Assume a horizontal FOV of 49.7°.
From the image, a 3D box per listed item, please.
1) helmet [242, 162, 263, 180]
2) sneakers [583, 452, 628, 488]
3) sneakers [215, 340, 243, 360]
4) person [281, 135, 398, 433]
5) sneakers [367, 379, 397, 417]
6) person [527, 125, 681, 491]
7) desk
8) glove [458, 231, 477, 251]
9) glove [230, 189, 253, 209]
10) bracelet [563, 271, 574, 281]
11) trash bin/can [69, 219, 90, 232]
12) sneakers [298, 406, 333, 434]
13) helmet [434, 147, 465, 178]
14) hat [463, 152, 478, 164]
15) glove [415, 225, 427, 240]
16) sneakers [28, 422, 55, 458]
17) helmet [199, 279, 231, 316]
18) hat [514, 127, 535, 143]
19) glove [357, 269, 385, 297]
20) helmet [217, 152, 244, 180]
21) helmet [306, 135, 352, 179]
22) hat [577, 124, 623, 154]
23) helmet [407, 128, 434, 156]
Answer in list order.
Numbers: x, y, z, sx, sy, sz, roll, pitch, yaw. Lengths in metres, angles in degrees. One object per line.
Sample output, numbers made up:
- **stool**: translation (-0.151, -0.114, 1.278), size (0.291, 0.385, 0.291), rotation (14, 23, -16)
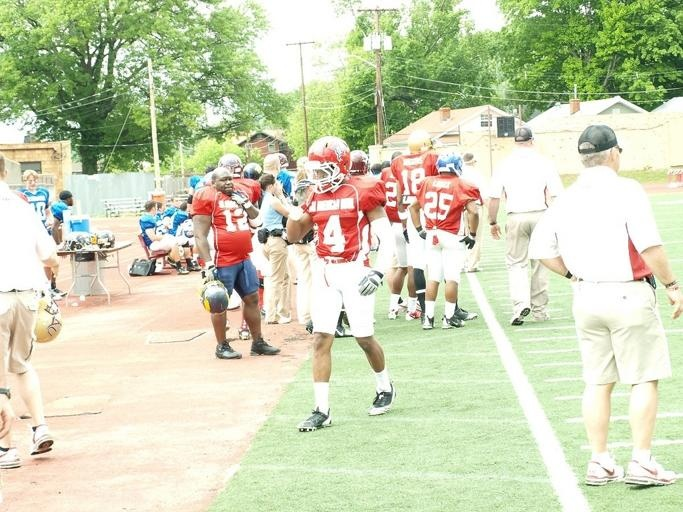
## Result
- **helmet**: translation (-1.337, -1.240, 10.639), size (0.256, 0.294, 0.315), rotation (12, 7, 11)
- **sneakers**: translation (1.782, 1.437, 5.012), size (0.138, 0.165, 0.371), rotation (0, 4, 43)
- **sneakers**: translation (-1.445, 1.178, 9.304), size (0.325, 0.223, 0.181), rotation (-1, 8, 27)
- **person**: translation (0.005, 0.190, 6.752), size (0.955, 2.589, 0.842), rotation (-5, 7, -2)
- **sneakers**: translation (0.375, 1.329, 6.902), size (0.141, 0.148, 0.389), rotation (-2, 31, 36)
- **person**: translation (1.825, 0.473, 5.026), size (0.879, 2.109, 0.598), rotation (0, 8, 33)
- **desk**: translation (-5.064, 0.299, 15.284), size (1.064, 0.881, 1.888), rotation (0, -2, -39)
- **glove**: translation (1.704, -0.217, 9.989), size (0.205, 0.213, 0.333), rotation (-4, 7, 7)
- **glove**: translation (-1.259, -0.716, 9.195), size (0.073, 0.243, 0.198), rotation (-47, -16, 23)
- **bracelet**: translation (1.695, 0.144, 5.510), size (0.038, 0.045, 0.112), rotation (-20, 3, 18)
- **trash bin/can**: translation (-5.742, -0.688, 16.192), size (0.402, 0.354, 0.319), rotation (-5, 17, -27)
- **sneakers**: translation (-0.235, 1.457, 6.591), size (0.358, 0.158, 0.128), rotation (-1, -2, -43)
- **helmet**: translation (1.453, -1.259, 9.975), size (0.339, 0.338, 0.349), rotation (-4, 7, 4)
- **hat**: translation (2.493, -1.954, 14.773), size (0.360, 0.228, 0.323), rotation (1, 2, 39)
- **glove**: translation (1.094, -0.326, 10.164), size (0.128, 0.189, 0.236), rotation (-5, 7, -1)
- **sneakers**: translation (-2.483, 1.516, 6.110), size (0.152, 0.161, 0.339), rotation (-12, -16, -23)
- **helmet**: translation (-1.505, 0.473, 8.905), size (0.338, 0.387, 0.378), rotation (-5, 33, -15)
- **hat**: translation (2.488, -1.675, 10.123), size (0.199, 0.157, 0.284), rotation (4, 37, 22)
- **glove**: translation (0.242, 0.235, 6.593), size (0.257, 0.168, 0.081), rotation (-54, 16, -24)
- **helmet**: translation (-1.457, -1.226, 9.952), size (0.386, 0.379, 0.310), rotation (4, 15, 42)
- **helmet**: translation (-0.095, -0.935, 6.810), size (0.431, 0.339, 0.304), rotation (-21, 25, -20)
- **hat**: translation (1.798, -0.823, 5.132), size (0.292, 0.156, 0.194), rotation (-13, 19, -34)
- **helmet**: translation (1.126, -1.674, 10.806), size (0.305, 0.325, 0.395), rotation (11, 52, 36)
